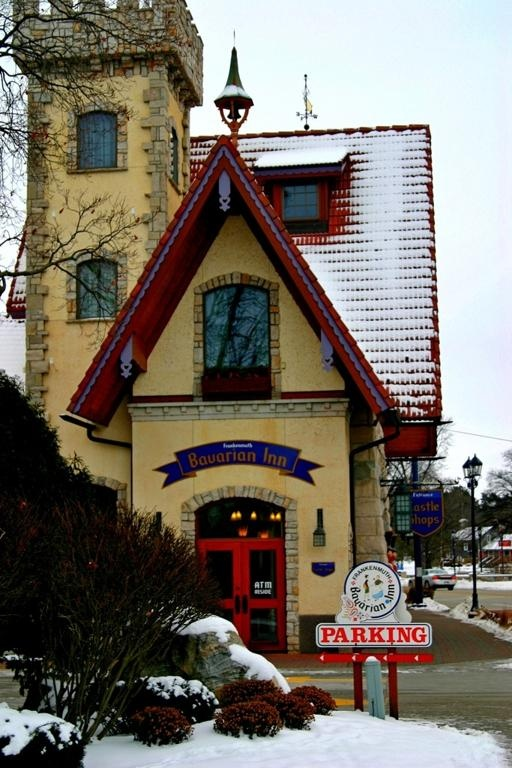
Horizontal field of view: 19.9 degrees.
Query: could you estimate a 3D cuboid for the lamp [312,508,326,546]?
[{"bbox_3d":[1.075,2.379,24.186,0.214,0.627,0.135,0,-13,1],"label":"lamp"}]
